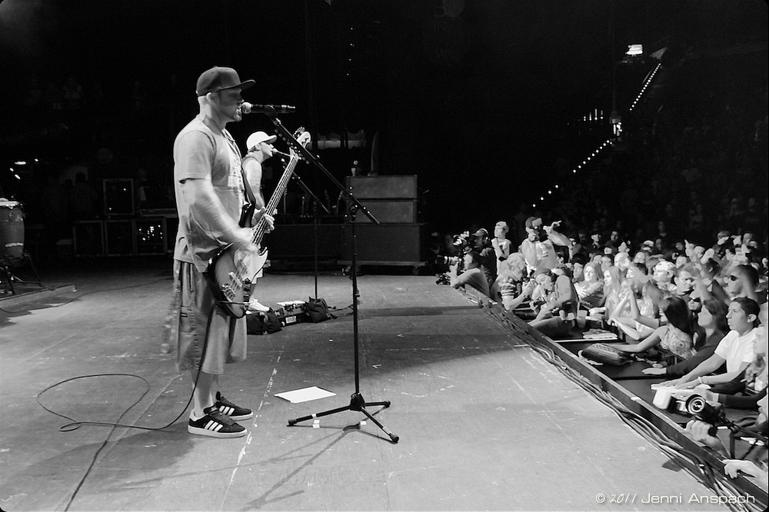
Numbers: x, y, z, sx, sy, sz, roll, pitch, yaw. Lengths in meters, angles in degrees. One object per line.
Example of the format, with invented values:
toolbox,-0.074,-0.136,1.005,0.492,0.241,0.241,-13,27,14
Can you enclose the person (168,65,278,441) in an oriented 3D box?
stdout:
person,-1.199,-0.011,4.178,0.643,2.597,0.446,-1,5,-20

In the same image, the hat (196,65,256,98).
hat,-1.106,-1.218,4.168,0.390,0.187,0.292,-6,22,-13

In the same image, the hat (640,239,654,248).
hat,3.894,-0.176,8.960,0.159,0.162,0.045,11,-36,1

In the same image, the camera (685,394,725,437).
camera,2.164,1.088,4.172,0.148,0.210,0.506,-2,-16,26
